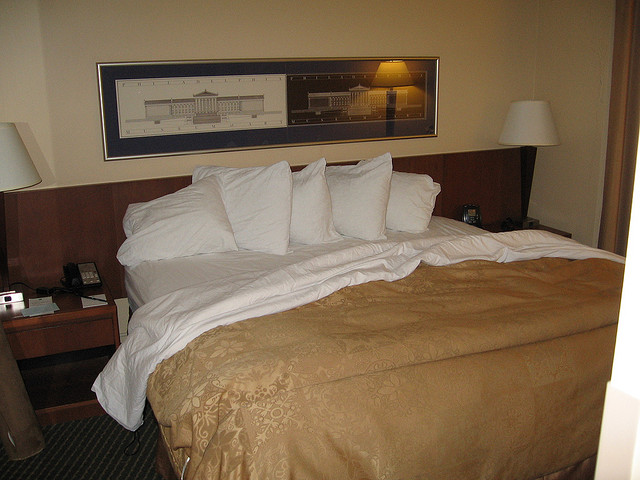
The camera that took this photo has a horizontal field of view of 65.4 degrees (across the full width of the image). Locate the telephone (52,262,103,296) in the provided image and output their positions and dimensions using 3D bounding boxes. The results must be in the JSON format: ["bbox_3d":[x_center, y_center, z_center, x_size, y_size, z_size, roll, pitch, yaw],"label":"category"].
[{"bbox_3d":[-1.626,0.250,3.368,0.228,0.084,0.242,-10,42,-18],"label":"telephone"}]

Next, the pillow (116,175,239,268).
[{"bbox_3d":[-0.922,-0.183,3.432,0.809,0.818,0.239,-14,32,-20],"label":"pillow"}]

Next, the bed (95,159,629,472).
[{"bbox_3d":[-0.015,0.334,2.721,2.118,0.795,2.239,-5,22,-17],"label":"bed"}]

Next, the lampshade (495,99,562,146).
[{"bbox_3d":[1.782,-0.971,4.489,0.415,0.455,0.410,-8,12,-40],"label":"lampshade"}]

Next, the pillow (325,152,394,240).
[{"bbox_3d":[0.260,-0.317,3.873,0.628,0.674,0.328,0,5,42],"label":"pillow"}]

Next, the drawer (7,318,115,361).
[{"bbox_3d":[-1.585,0.606,3.073,0.384,0.211,0.311,-6,14,-25],"label":"drawer"}]

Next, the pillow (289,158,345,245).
[{"bbox_3d":[-0.020,-0.253,3.641,0.546,0.586,0.214,-8,4,-31],"label":"pillow"}]

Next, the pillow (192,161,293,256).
[{"bbox_3d":[-0.451,-0.246,3.506,0.574,0.625,0.179,0,-8,13],"label":"pillow"}]
